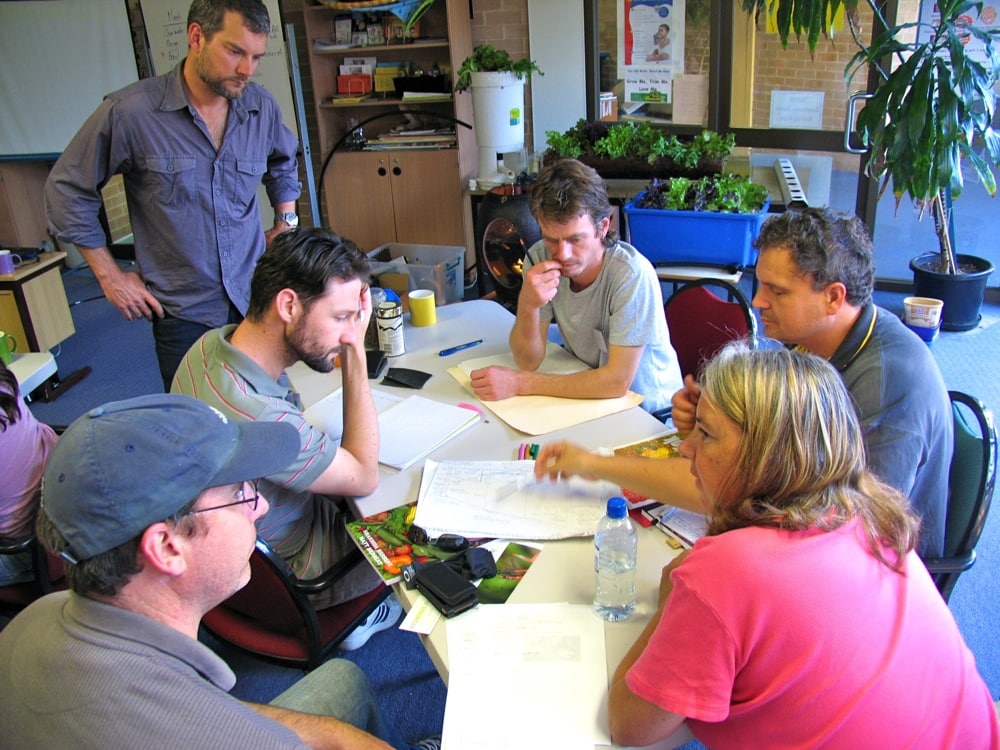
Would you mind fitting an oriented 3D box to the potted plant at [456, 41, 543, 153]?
[{"bbox_3d":[-0.003,-1.761,4.973,0.555,0.703,0.408,-10,20,-23],"label":"potted plant"}]

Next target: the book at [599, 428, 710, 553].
[{"bbox_3d":[0.404,0.298,1.930,0.213,0.053,0.218,-13,21,-31],"label":"book"}]

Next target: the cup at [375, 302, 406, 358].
[{"bbox_3d":[-0.401,-0.160,2.749,0.142,0.180,0.144,-3,-3,0],"label":"cup"}]

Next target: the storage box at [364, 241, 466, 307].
[{"bbox_3d":[-0.401,-0.526,3.673,0.388,0.254,0.395,10,20,27],"label":"storage box"}]

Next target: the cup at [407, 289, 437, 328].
[{"bbox_3d":[-0.310,-0.266,2.969,0.104,0.119,0.140,-1,16,3],"label":"cup"}]

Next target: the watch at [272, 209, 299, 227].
[{"bbox_3d":[-0.963,-0.700,3.379,0.103,0.070,0.096,12,-25,-34],"label":"watch"}]

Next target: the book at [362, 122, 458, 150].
[{"bbox_3d":[-0.648,-1.732,5.597,0.695,0.171,0.299,1,23,5],"label":"book"}]

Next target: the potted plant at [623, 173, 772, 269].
[{"bbox_3d":[1.050,-0.719,3.919,0.666,0.299,0.574,10,16,33],"label":"potted plant"}]

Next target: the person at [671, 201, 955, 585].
[{"bbox_3d":[0.779,-0.073,2.411,0.828,1.350,0.852,1,16,7],"label":"person"}]

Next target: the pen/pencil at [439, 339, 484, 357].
[{"bbox_3d":[-0.147,-0.103,2.803,0.148,0.022,0.015,-18,60,-28],"label":"pen/pencil"}]

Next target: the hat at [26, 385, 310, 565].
[{"bbox_3d":[-0.630,0.142,1.405,0.452,0.226,0.292,-21,21,-30],"label":"hat"}]
